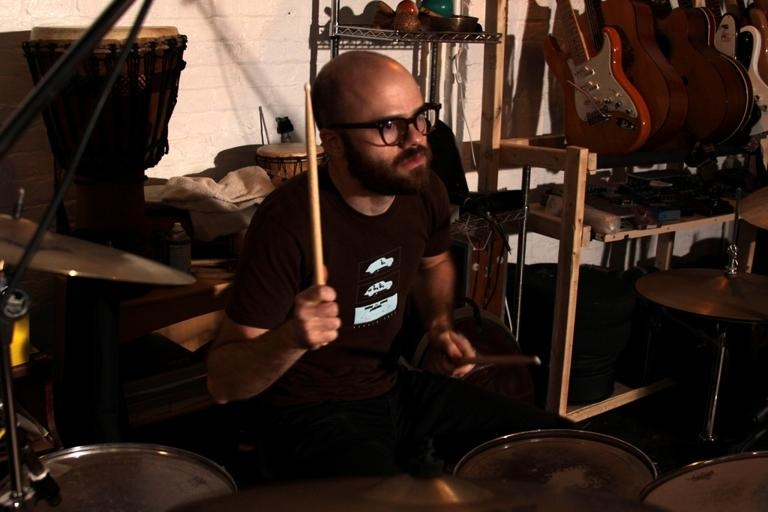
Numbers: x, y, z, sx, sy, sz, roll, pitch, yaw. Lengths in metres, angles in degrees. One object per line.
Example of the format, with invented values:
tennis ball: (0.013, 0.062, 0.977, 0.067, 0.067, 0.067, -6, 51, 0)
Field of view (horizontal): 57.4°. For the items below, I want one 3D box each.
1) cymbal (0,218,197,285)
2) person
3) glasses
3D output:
cymbal: (-0.643, 0.004, 1.511, 0.229, 0.060, 0.237, 19, -3, -7)
person: (-0.033, 0.021, 1.879, 0.842, 1.127, 0.522, -8, 11, -30)
glasses: (0.040, -0.354, 1.923, 0.191, 0.057, 0.190, 9, 19, 44)
